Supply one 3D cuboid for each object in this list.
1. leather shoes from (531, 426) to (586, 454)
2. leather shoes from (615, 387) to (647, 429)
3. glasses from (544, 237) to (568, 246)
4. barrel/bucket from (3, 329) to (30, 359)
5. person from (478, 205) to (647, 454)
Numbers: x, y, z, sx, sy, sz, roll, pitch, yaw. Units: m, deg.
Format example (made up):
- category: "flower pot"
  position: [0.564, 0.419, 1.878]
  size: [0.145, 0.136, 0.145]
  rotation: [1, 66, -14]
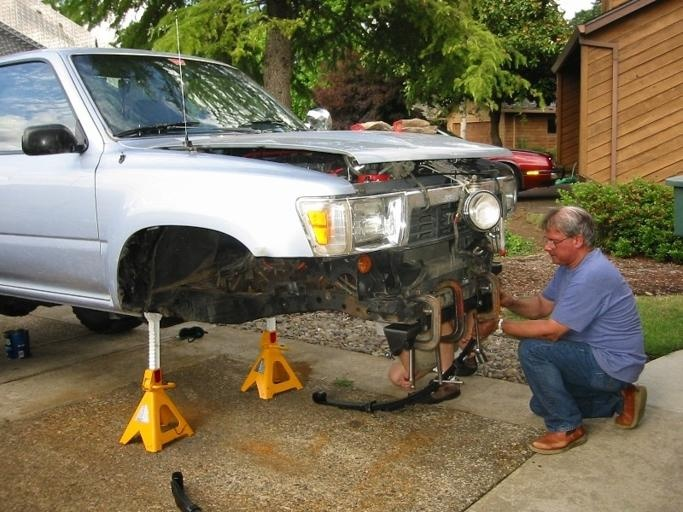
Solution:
- category: "leather shoes"
  position: [1.348, 1.135, 3.743]
  size: [0.405, 0.129, 0.129]
  rotation: [-1, 7, -21]
- category: "leather shoes"
  position: [1.902, 0.993, 3.893]
  size: [0.196, 0.291, 0.139]
  rotation: [4, 20, 13]
- category: "glasses"
  position: [1.347, -0.100, 3.806]
  size: [0.059, 0.062, 0.189]
  rotation: [-8, 14, -19]
- category: "barrel/bucket"
  position: [-2.968, 0.796, 5.517]
  size: [0.326, 0.241, 0.261]
  rotation: [0, 0, -34]
- category: "person"
  position: [1.377, 0.411, 3.914]
  size: [0.867, 1.483, 0.811]
  rotation: [-11, 17, -26]
